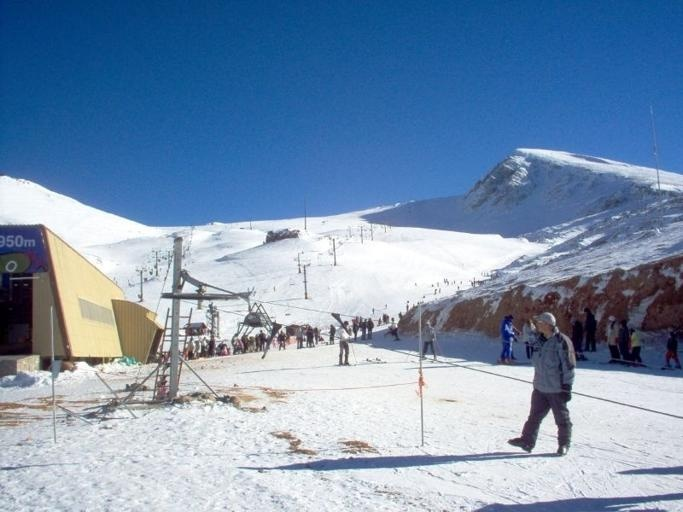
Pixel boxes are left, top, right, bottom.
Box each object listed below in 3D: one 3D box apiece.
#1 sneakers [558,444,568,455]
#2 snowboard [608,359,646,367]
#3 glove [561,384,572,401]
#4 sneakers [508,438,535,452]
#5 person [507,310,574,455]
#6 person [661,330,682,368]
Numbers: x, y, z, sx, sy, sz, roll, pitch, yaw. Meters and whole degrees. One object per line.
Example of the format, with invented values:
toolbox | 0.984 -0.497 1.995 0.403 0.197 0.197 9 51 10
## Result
sneakers | 4.153 3.669 11.503 0.230 0.198 0.133 8 -14 -16
snowboard | 9.506 3.544 20.276 0.098 0.293 1.882 -45 11 -20
glove | 4.272 2.620 11.664 0.188 0.339 0.200 -2 -9 26
sneakers | 3.413 3.599 11.626 0.209 0.222 0.542 6 2 -34
person | 3.961 2.456 11.842 1.009 2.660 0.450 -1 -9 18
person | 10.760 3.030 19.975 0.490 1.250 1.662 -3 -9 29
